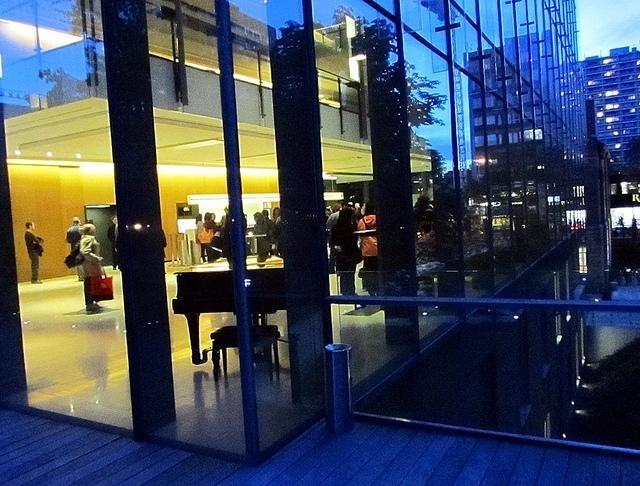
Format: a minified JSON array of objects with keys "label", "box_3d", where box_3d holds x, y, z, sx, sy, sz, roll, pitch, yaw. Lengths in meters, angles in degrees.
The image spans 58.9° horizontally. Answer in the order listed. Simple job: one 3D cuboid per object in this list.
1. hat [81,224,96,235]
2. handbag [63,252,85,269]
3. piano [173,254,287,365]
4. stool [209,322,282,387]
[{"label":"hat","box_3d":[-3.916,-0.237,9.638,0.180,0.156,0.185,-4,2,35]},{"label":"handbag","box_3d":[-3.923,0.257,9.176,0.262,0.246,0.439,3,13,4]},{"label":"piano","box_3d":[-0.918,0.502,5.741,1.398,1.043,0.935,-1,7,8]},{"label":"stool","box_3d":[-0.768,0.967,5.637,0.557,0.617,0.747,1,4,-18]}]
